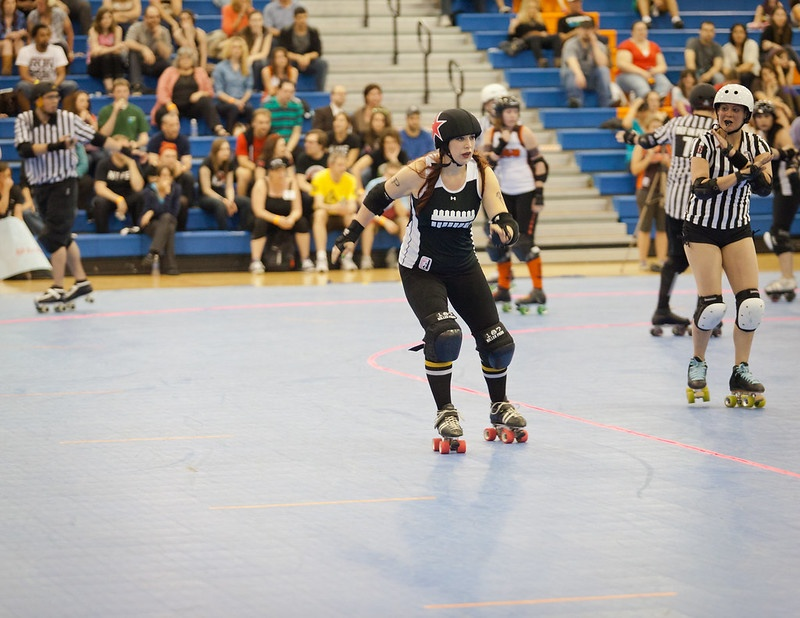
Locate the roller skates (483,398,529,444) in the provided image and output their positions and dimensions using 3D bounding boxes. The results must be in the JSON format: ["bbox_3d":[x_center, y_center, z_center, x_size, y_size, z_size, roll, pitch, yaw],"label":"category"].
[{"bbox_3d":[0.661,0.692,6.021,0.198,0.227,0.345,4,-4,-29],"label":"roller skates"}]

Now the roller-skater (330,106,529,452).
[{"bbox_3d":[0.246,-0.190,5.943,0.943,2.002,0.732,-2,11,6],"label":"roller-skater"}]

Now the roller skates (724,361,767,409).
[{"bbox_3d":[2.325,0.523,6.678,0.166,0.296,0.429,1,-4,-8],"label":"roller skates"}]

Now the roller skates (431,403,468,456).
[{"bbox_3d":[0.291,0.693,5.898,0.175,0.242,0.408,0,12,-6],"label":"roller skates"}]

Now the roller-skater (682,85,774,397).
[{"bbox_3d":[2.209,-0.452,6.729,0.567,2.132,0.636,0,12,19],"label":"roller-skater"}]

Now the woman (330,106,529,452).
[{"bbox_3d":[0.243,-0.190,5.946,0.952,2.002,0.743,-3,11,5],"label":"woman"}]

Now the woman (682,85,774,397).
[{"bbox_3d":[2.211,-0.451,6.723,0.570,2.132,0.633,0,11,17],"label":"woman"}]

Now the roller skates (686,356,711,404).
[{"bbox_3d":[2.057,0.460,6.875,0.156,0.282,0.445,-2,16,14],"label":"roller skates"}]
